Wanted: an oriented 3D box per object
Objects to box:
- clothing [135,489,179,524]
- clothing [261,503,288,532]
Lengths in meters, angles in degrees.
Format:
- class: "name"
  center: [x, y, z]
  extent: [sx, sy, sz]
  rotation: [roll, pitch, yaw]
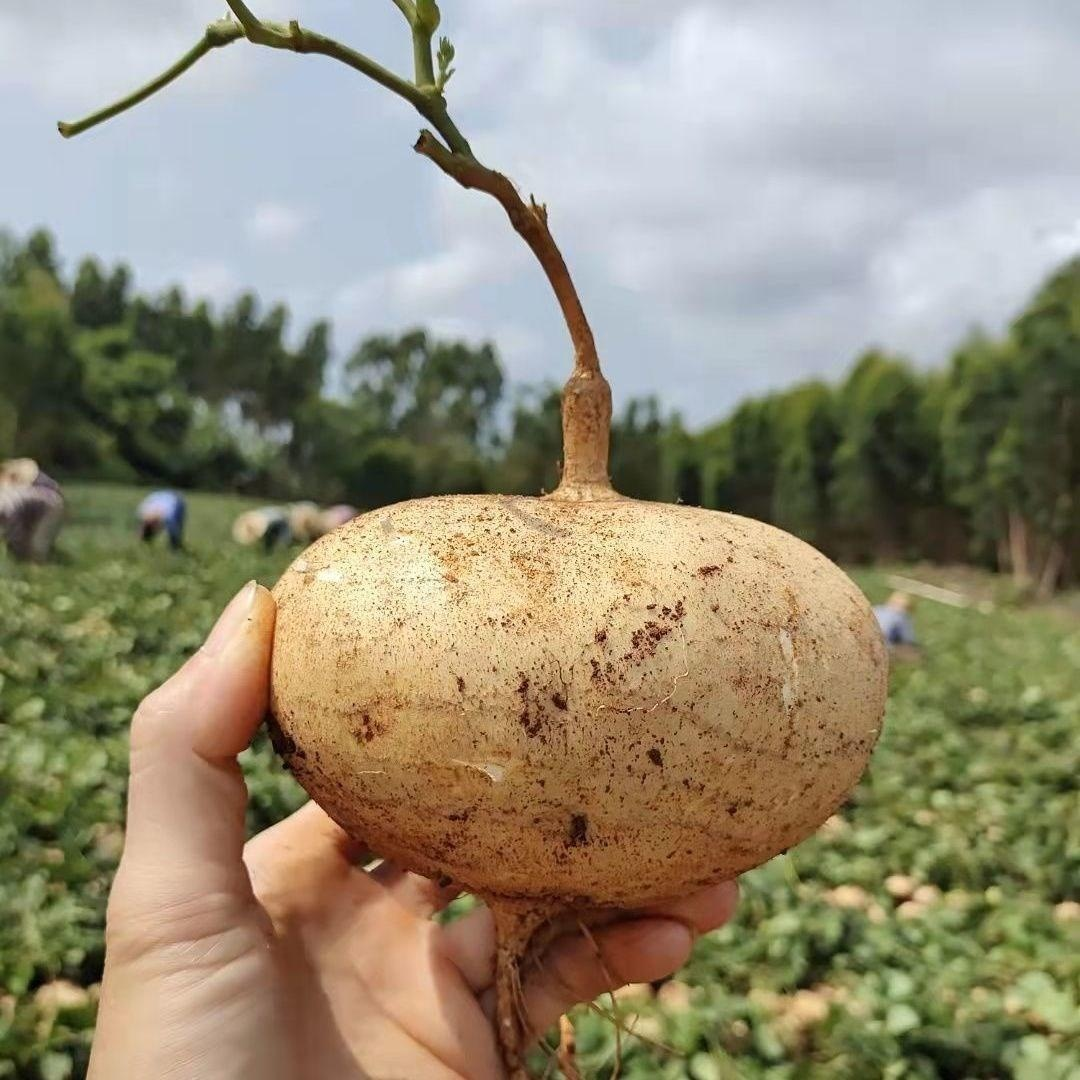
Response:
- class: "clothing"
  center: [-1.238, -0.110, 3.949]
  extent: [0.114, 0.064, 0.127]
  rotation: [-3, 1, -1]
- class: "clothing"
  center: [-1.143, -0.095, 5.309]
  extent: [0.139, 0.102, 0.122]
  rotation: [0, 7, -3]
